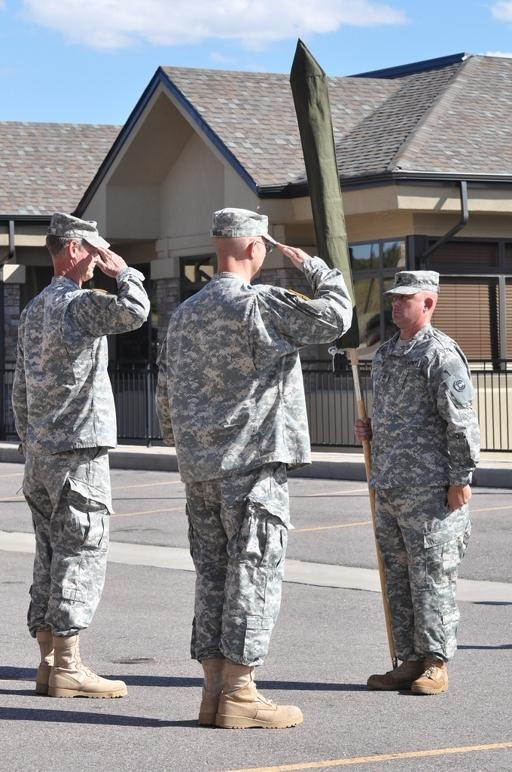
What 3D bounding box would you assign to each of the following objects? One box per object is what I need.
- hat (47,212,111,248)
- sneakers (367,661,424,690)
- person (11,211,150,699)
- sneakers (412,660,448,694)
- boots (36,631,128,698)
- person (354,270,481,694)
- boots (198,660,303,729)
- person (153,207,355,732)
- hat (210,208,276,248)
[{"bbox_3d":[-0.838,-0.728,6.907,0.246,0.088,0.171,8,5,-23],"label":"hat"},{"bbox_3d":[0.671,1.390,7.027,0.315,0.126,0.108,3,-5,-11],"label":"sneakers"},{"bbox_3d":[-0.834,0.315,6.831,0.373,2.244,0.816,3,-3,-44],"label":"person"},{"bbox_3d":[0.814,1.362,6.914,0.150,0.155,0.212,1,-2,16],"label":"sneakers"},{"bbox_3d":[-0.768,1.301,6.823,0.547,0.360,0.211,1,0,-10],"label":"boots"},{"bbox_3d":[0.787,0.438,6.987,0.599,2.004,0.357,1,-2,22],"label":"person"},{"bbox_3d":[0.050,1.315,6.277,0.548,0.306,0.194,1,0,-23],"label":"boots"},{"bbox_3d":[-0.044,0.353,6.217,0.834,2.196,0.451,1,-2,6],"label":"person"},{"bbox_3d":[-0.061,-0.674,6.224,0.244,0.105,0.154,-2,9,-33],"label":"hat"}]
